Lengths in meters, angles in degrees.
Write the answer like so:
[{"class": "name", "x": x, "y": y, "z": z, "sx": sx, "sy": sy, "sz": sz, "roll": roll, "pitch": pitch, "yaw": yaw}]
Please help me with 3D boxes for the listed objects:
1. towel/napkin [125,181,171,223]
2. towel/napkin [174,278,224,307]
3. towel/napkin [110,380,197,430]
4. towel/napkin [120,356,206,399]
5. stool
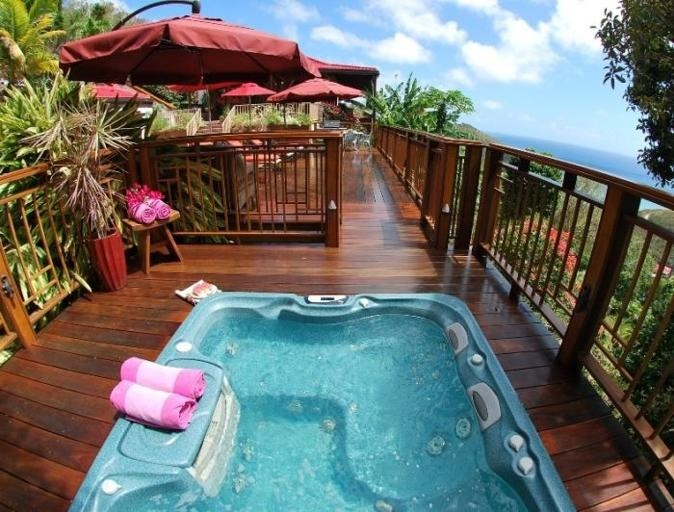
[{"class": "towel/napkin", "x": -2.031, "y": -0.589, "z": 4.171, "sx": 0.379, "sy": 0.236, "sz": 0.489, "roll": -7, "pitch": 13, "yaw": -35}, {"class": "towel/napkin", "x": -1.376, "y": 0.320, "z": 3.930, "sx": 0.400, "sy": 0.104, "sz": 0.351, "roll": 20, "pitch": 29, "yaw": 33}, {"class": "towel/napkin", "x": -1.216, "y": 0.969, "z": 2.623, "sx": 0.491, "sy": 0.183, "sz": 0.246, "roll": 12, "pitch": 15, "yaw": 10}, {"class": "towel/napkin", "x": -1.180, "y": 0.814, "z": 2.676, "sx": 0.549, "sy": 0.199, "sz": 0.232, "roll": 8, "pitch": 20, "yaw": 16}, {"class": "stool", "x": -2.075, "y": -0.155, "z": 4.381, "sx": 0.405, "sy": 0.488, "sz": 0.459, "roll": 35, "pitch": 46, "yaw": 20}]
